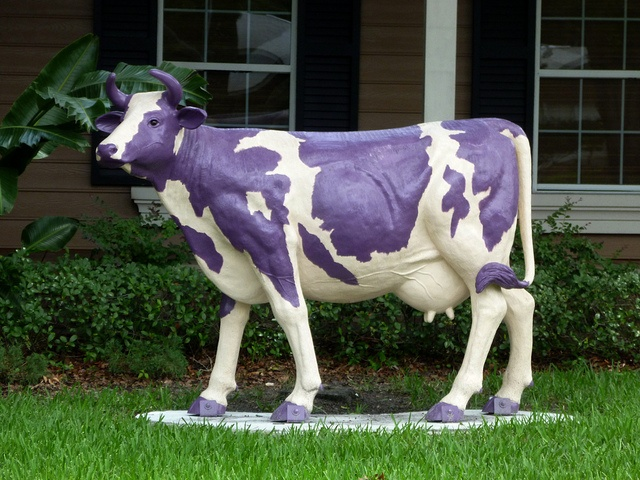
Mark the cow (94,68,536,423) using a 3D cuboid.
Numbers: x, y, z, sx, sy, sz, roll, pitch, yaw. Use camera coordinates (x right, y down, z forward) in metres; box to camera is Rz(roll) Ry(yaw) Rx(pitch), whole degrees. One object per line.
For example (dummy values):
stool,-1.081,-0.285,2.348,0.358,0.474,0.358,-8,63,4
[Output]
cow,-0.082,0.165,7.778,2.780,1.906,0.852,0,-7,-1
